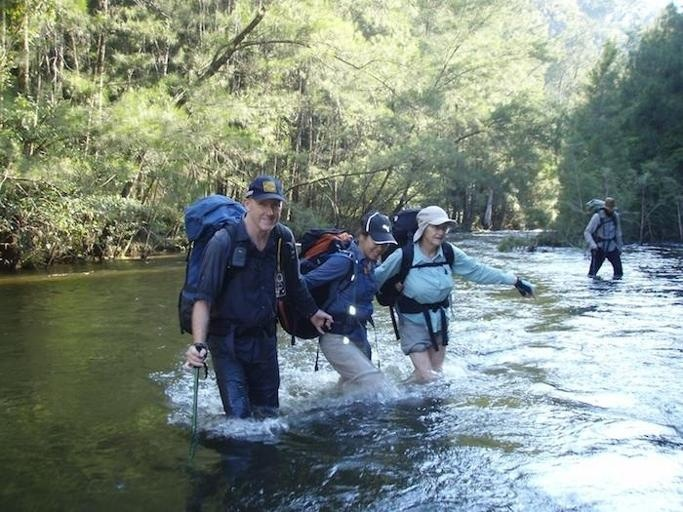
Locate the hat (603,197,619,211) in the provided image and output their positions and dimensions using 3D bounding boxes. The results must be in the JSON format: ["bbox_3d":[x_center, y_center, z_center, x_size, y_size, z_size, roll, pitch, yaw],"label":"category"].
[{"bbox_3d":[6.996,-1.361,14.466,0.274,0.360,0.462,4,11,25],"label":"hat"}]

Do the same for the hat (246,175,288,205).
[{"bbox_3d":[-0.807,-0.707,5.812,0.380,0.275,0.409,-2,10,-10],"label":"hat"}]

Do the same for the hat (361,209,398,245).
[{"bbox_3d":[0.491,-0.339,6.728,0.302,0.264,0.452,-12,41,-44],"label":"hat"}]

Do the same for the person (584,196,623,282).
[{"bbox_3d":[7.002,-0.441,14.800,0.824,2.286,1.008,7,13,37],"label":"person"}]
